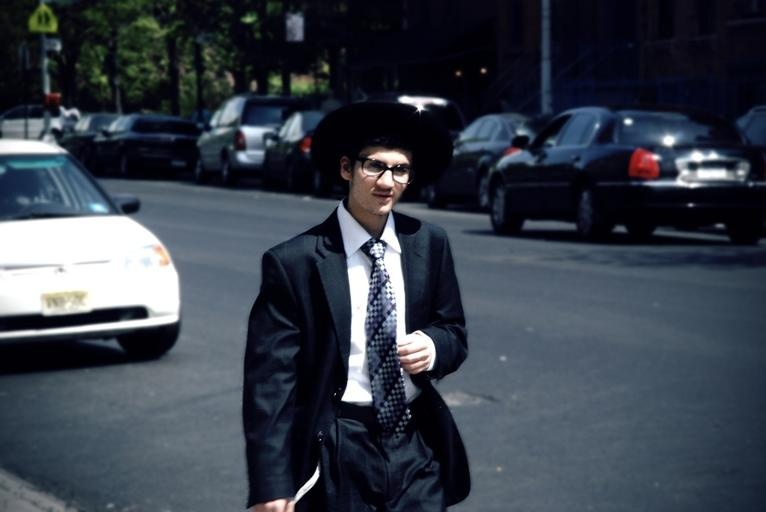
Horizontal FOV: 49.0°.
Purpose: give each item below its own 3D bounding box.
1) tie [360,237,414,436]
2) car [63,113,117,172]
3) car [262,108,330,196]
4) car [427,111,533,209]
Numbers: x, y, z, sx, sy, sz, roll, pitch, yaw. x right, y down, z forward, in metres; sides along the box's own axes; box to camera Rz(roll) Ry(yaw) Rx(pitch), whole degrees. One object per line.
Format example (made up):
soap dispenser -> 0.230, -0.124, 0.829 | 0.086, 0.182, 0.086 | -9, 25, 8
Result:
tie -> 0.010, 0.279, 2.932 | 0.146, 0.671, 0.153 | -2, 9, -6
car -> -11.748, -4.659, 33.727 | 1.861, 1.960, 3.805 | -3, 10, -25
car -> -2.055, -2.641, 22.124 | 2.178, 1.889, 3.949 | -2, 11, -14
car -> 2.100, -2.069, 17.889 | 1.586, 1.635, 3.570 | -2, 5, -32
